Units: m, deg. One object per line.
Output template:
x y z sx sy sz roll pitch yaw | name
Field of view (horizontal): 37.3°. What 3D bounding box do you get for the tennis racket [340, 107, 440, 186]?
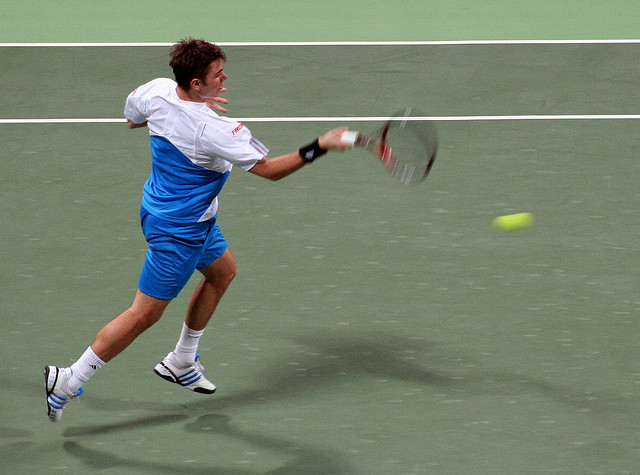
0.415 -0.597 6.120 0.781 0.159 0.348 5 62 -28 | tennis racket
